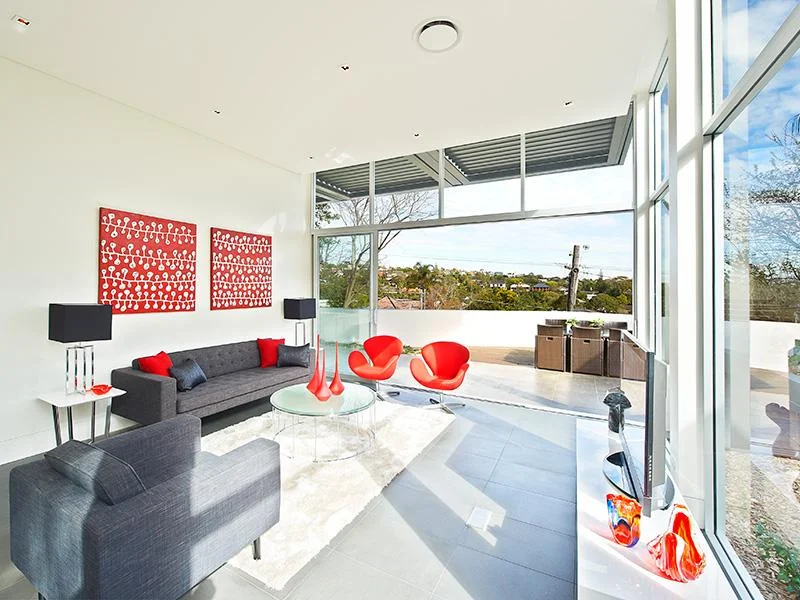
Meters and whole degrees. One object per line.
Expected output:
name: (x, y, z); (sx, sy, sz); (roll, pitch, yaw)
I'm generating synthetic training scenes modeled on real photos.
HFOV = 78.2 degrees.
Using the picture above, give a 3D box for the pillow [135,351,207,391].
pillow: (-2.492, 0.787, 5.386); (0.703, 0.428, 0.441); (-7, 14, -30)

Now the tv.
tv: (1.709, 0.903, 3.498); (0.387, 0.908, 1.250); (0, -1, 16)

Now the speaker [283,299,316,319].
speaker: (-1.478, 0.113, 7.294); (0.457, 0.303, 0.289); (-3, 12, -12)

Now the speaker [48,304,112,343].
speaker: (-3.086, 0.211, 4.774); (0.546, 0.338, 0.548); (1, 1, -17)

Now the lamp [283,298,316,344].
lamp: (-1.492, 0.325, 7.385); (0.537, 0.682, 0.545); (0, 8, -8)

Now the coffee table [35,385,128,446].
coffee table: (-3.113, 1.138, 4.709); (0.385, 0.352, 0.351); (-13, -3, -6)

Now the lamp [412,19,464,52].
lamp: (0.324, -2.220, 4.124); (0.368, 0.157, 0.342); (1, 12, 3)
